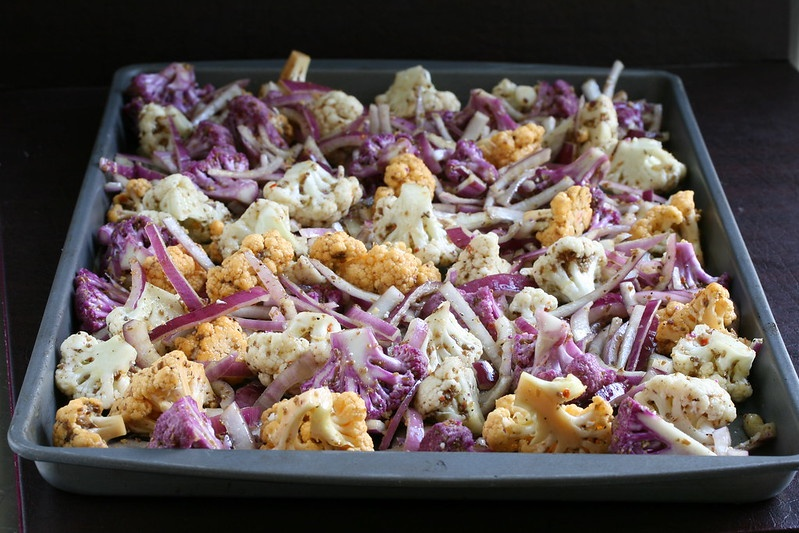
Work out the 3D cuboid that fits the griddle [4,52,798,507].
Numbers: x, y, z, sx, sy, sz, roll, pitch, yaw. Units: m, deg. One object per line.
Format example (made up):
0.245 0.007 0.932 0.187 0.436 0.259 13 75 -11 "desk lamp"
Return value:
0.065 -0.138 2.277 2.126 0.308 1.954 -7 50 -3 "griddle"
